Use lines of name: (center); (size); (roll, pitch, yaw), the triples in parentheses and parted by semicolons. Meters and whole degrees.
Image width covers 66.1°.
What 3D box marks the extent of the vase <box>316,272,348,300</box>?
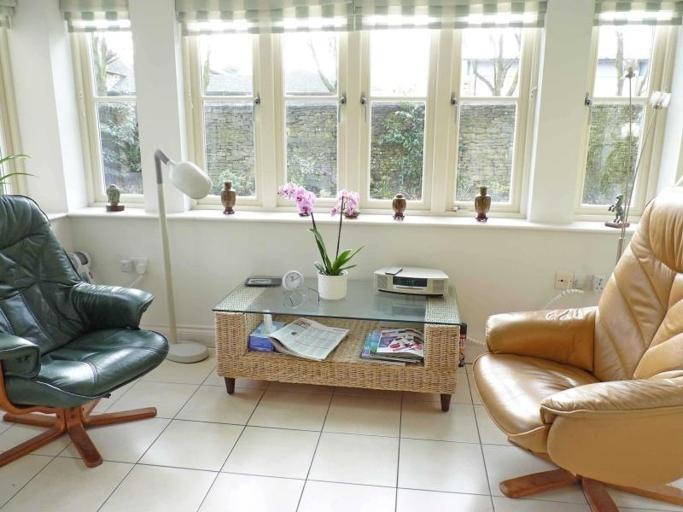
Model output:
vase: (-0.054, 0.178, 3.147); (0.161, 0.118, 0.161); (4, 8, 25)

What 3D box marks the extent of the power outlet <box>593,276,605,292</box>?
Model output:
power outlet: (1.583, 0.171, 3.235); (0.076, 0.139, 0.076); (0, 3, 22)

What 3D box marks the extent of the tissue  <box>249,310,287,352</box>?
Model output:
tissue : (-0.459, 0.432, 3.122); (0.135, 0.119, 0.243); (2, 18, 3)

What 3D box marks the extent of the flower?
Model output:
flower: (-0.113, -0.176, 3.309); (0.471, 0.610, 0.579); (-2, 17, 2)

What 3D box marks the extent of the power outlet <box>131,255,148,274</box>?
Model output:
power outlet: (-1.393, 0.052, 3.619); (0.124, 0.123, 0.064); (1, 4, 5)
